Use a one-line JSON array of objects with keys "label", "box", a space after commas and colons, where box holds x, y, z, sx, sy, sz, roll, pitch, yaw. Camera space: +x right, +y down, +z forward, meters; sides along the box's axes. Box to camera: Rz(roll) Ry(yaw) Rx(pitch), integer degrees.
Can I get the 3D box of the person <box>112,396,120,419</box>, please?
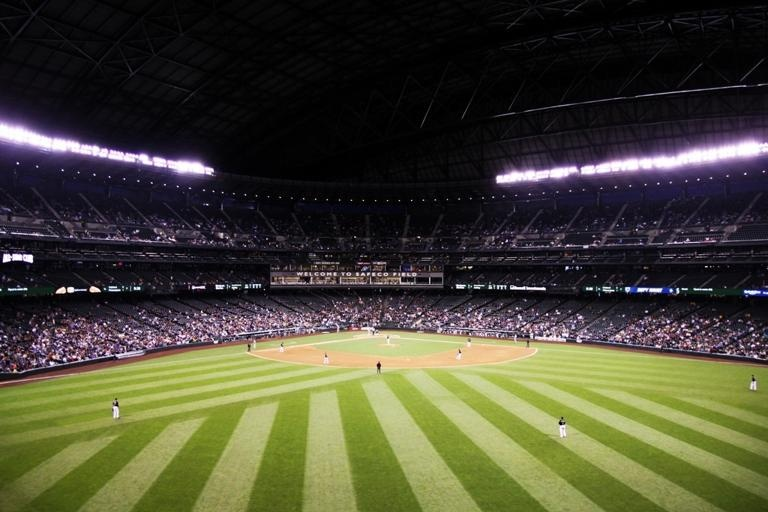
[{"label": "person", "box": [-22.267, 12.689, 43.477, 0.519, 1.605, 1.551, -2, -10, -27]}]
